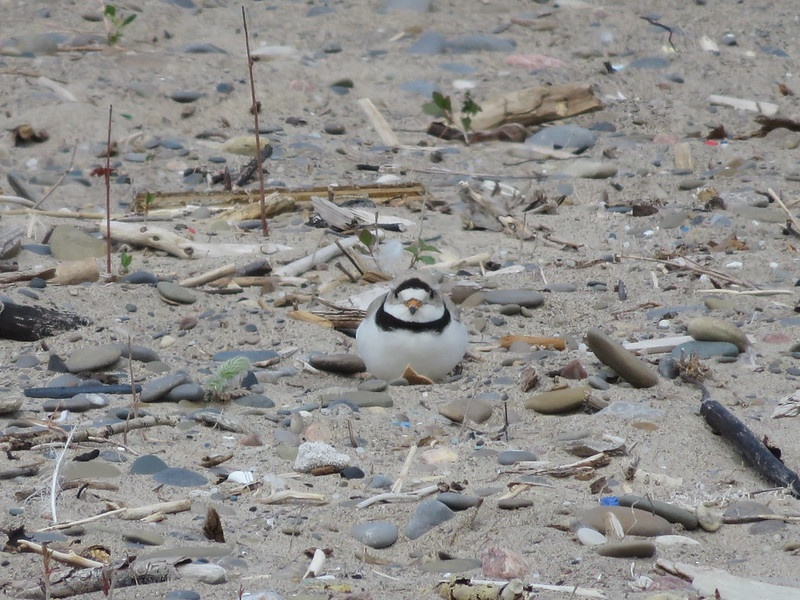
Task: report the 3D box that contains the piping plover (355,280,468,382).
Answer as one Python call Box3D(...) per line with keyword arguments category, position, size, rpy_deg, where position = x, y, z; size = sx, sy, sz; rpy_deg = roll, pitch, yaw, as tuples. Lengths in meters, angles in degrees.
Box3D(category="piping plover", position=(0.024, 0.106, 5.879), size=(0.769, 0.456, 0.753), rpy_deg=(1, 14, -6))
